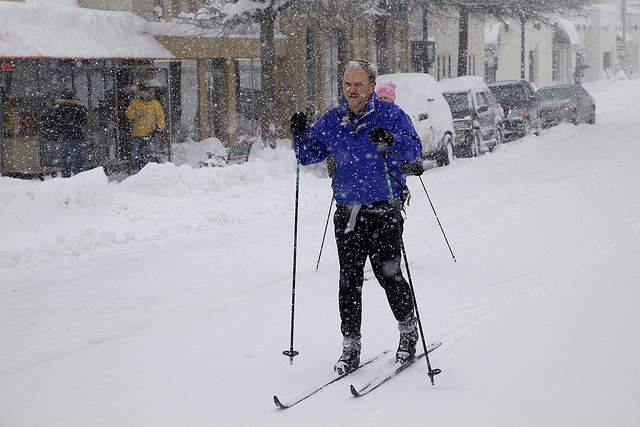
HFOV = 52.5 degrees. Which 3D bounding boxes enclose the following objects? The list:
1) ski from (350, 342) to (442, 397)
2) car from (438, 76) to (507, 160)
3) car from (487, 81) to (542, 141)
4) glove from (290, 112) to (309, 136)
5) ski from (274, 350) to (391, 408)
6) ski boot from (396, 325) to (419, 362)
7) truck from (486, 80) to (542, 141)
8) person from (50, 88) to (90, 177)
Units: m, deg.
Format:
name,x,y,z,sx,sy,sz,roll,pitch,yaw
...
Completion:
name,x,y,z,sx,sy,sz,roll,pitch,yaw
ski,0.777,1.417,6.241,1.250,0.192,0.143,-22,-17,-38
car,4.740,-3.107,21.116,1.697,2.043,3.070,0,10,25
car,7.678,-4.113,25.281,1.514,1.682,2.887,-2,6,23
glove,-0.203,-0.842,6.047,0.135,0.219,0.054,-3,5,5
ski,0.125,1.550,6.039,0.098,0.133,1.016,3,20,39
ski boot,0.856,1.217,6.248,0.123,0.211,0.417,-4,26,21
truck,7.685,-4.139,25.261,1.503,1.692,2.825,-1,5,24
person,-6.399,-2.042,16.553,0.864,2.132,1.161,-7,12,-24
